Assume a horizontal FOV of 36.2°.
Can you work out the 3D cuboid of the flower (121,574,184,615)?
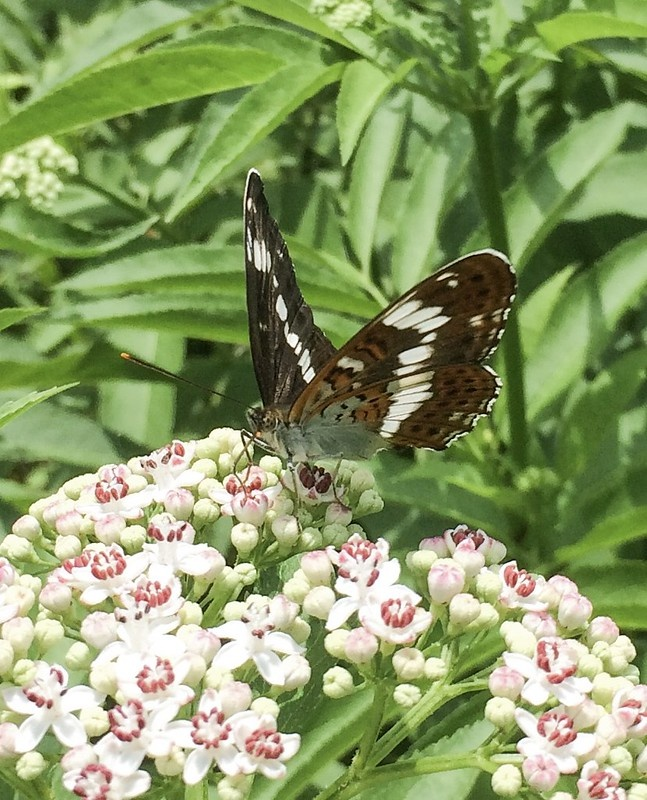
[{"bbox_3d":[-0.348,0.402,2.058,0.118,0.035,0.084,-13,34,-39],"label":"flower"}]

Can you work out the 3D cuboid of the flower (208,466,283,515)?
[{"bbox_3d":[-0.185,0.224,2.411,0.154,0.043,0.128,-13,19,-25],"label":"flower"}]

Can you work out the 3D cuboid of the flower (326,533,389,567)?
[{"bbox_3d":[0.085,0.329,2.173,0.111,0.030,0.087,-2,7,-11],"label":"flower"}]

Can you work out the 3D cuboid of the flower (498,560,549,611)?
[{"bbox_3d":[0.437,0.424,2.245,0.129,0.044,0.105,17,59,28],"label":"flower"}]

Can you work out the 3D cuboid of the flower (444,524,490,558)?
[{"bbox_3d":[0.339,0.337,2.350,0.087,0.098,0.046,2,82,16],"label":"flower"}]

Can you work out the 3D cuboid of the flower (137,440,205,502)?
[{"bbox_3d":[-0.374,0.173,2.435,0.168,0.138,0.061,-7,-1,-32],"label":"flower"}]

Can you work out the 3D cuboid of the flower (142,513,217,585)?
[{"bbox_3d":[-0.298,0.325,2.241,0.166,0.069,0.163,27,19,7],"label":"flower"}]

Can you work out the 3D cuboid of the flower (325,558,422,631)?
[{"bbox_3d":[0.092,0.409,2.115,0.201,0.059,0.150,-5,44,3],"label":"flower"}]

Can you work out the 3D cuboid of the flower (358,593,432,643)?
[{"bbox_3d":[0.157,0.455,2.101,0.147,0.119,0.050,3,84,22],"label":"flower"}]

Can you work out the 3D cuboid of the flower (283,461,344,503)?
[{"bbox_3d":[-0.033,0.212,2.475,0.140,0.042,0.115,5,19,-15],"label":"flower"}]

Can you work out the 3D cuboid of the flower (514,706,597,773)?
[{"bbox_3d":[0.446,0.673,1.992,0.158,0.044,0.134,-13,48,-31],"label":"flower"}]
